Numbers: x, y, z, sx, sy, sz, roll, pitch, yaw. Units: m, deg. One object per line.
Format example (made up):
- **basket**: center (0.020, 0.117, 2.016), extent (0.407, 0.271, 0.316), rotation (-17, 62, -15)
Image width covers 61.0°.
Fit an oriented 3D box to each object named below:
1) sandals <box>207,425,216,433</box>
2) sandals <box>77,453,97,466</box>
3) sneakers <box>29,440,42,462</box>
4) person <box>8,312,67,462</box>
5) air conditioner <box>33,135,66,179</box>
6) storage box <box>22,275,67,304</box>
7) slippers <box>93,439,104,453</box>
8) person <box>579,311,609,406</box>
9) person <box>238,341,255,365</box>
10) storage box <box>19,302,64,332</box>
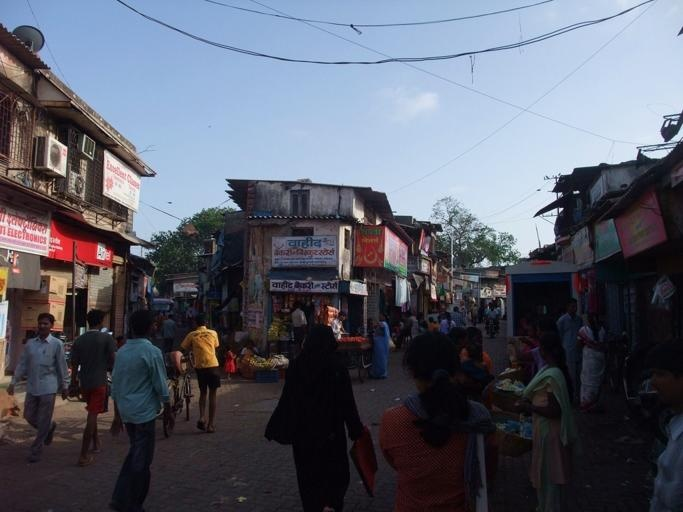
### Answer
- **sandals**: center (-2.146, 2.851, 9.592), extent (0.159, 0.171, 0.076), rotation (2, -1, -43)
- **sandals**: center (-3.447, 2.728, 7.876), extent (0.135, 0.153, 0.337), rotation (1, 0, 3)
- **sneakers**: center (-4.178, 2.668, 7.868), extent (0.118, 0.188, 0.384), rotation (2, -11, -9)
- **person**: center (-4.261, 1.805, 8.178), extent (0.742, 2.041, 0.660), rotation (4, -9, -32)
- **air conditioner**: center (-6.954, -2.362, 13.768), extent (0.316, 0.943, 0.956), rotation (-1, -11, 4)
- **storage box**: center (-6.686, 0.779, 13.350), extent (0.585, 0.396, 0.595), rotation (-10, -8, 37)
- **slippers**: center (-3.536, 2.754, 8.375), extent (0.083, 0.192, 0.255), rotation (0, -3, -3)
- **person**: center (4.553, 1.887, 10.570), extent (0.463, 1.733, 0.580), rotation (-3, -8, 16)
- **person**: center (-2.761, 2.779, 16.848), extent (0.497, 0.692, 1.644), rotation (1, -9, -9)
- **storage box**: center (-6.889, 1.296, 13.444), extent (0.979, 0.696, 1.050), rotation (0, 0, -1)
